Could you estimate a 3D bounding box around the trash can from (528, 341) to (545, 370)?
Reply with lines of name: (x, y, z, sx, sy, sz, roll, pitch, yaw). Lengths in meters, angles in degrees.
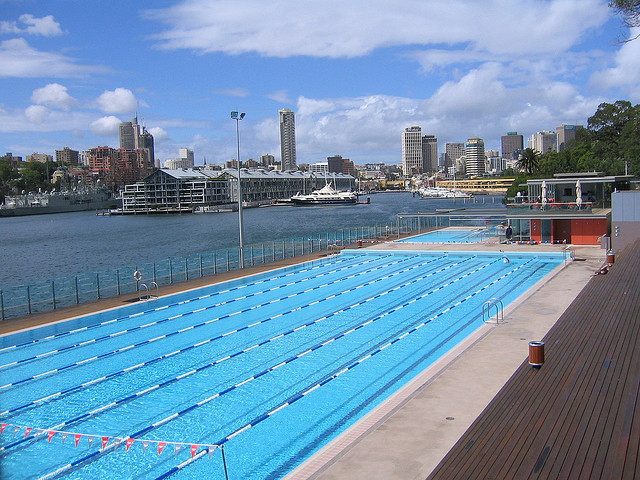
trash can: (4.846, 2.549, 12.652, 0.342, 0.537, 0.572, -6, 5, 17)

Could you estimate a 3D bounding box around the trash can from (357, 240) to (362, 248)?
trash can: (3.278, 0.278, 46.577, 0.559, 0.478, 0.495, -1, 3, -6)

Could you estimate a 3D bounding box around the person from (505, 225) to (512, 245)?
person: (15.130, -0.439, 45.258, 0.496, 1.219, 0.762, -7, 6, 13)
